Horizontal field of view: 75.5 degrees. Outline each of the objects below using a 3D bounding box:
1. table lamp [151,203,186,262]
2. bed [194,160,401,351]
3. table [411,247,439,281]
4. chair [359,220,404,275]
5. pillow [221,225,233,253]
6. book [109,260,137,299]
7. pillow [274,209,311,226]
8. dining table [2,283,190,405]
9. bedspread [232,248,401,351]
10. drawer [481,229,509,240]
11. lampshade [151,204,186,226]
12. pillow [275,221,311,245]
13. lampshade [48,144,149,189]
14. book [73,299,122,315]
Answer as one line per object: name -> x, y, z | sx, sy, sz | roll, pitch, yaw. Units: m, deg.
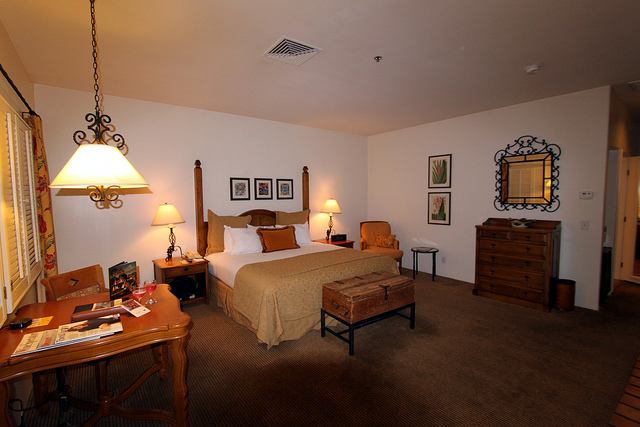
table lamp -> -2.361, 0.262, 6.515 | 0.467, 0.960, 0.463 | -2, 4, -29
bed -> -0.516, 0.703, 7.042 | 2.776, 2.499, 2.898 | -2, 3, -36
table -> 1.970, 0.951, 7.890 | 0.546, 0.616, 0.529 | 5, 6, 41
chair -> 1.172, 0.703, 8.274 | 0.809, 1.038, 1.000 | -3, 5, -24
pillow -> -1.507, 0.441, 6.796 | 0.093, 0.336, 0.314 | 1, 5, -20
book -> -2.110, 0.694, 4.587 | 0.350, 0.517, 0.379 | -2, 6, -24
pillow -> -0.509, 0.089, 7.680 | 0.408, 0.307, 0.125 | 2, -10, -26
dining table -> -2.313, 1.105, 4.309 | 1.647, 1.044, 1.379 | -8, 22, -29
bedspread -> -0.194, 1.221, 5.990 | 1.816, 1.048, 0.769 | -2, 4, -31
drawer -> 2.809, 0.344, 6.639 | 0.426, 0.140, 0.033 | 3, 5, 44
lampshade -> -2.305, 0.045, 6.404 | 0.351, 0.247, 0.358 | -6, 12, 10
pillow -> -0.426, 0.426, 7.545 | 0.143, 0.376, 0.497 | -31, -17, 32
lampshade -> -2.070, -0.453, 3.906 | 0.802, 0.408, 0.213 | -1, 4, -8
book -> -2.301, 0.980, 4.335 | 0.257, 0.070, 0.190 | 0, 5, -32
